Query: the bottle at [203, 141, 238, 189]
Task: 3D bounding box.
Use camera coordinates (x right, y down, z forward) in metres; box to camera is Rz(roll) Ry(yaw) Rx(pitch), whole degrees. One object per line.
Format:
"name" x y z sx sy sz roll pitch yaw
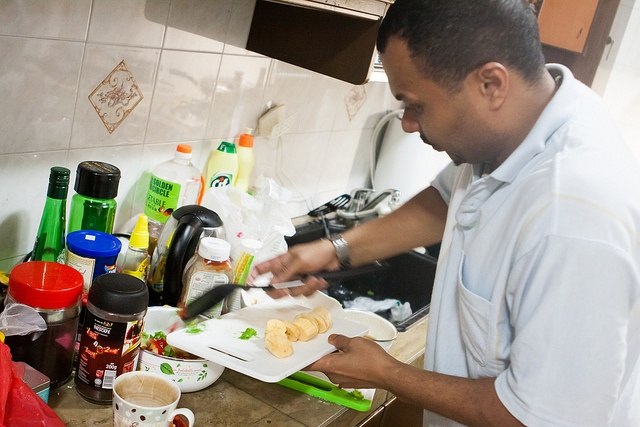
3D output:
"bottle" -0.354 -0.172 1.546 0.122 0.172 0.069 6 12 -15

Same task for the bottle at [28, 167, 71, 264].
"bottle" -0.700 0.012 1.113 0.083 0.281 0.200 1 14 -33

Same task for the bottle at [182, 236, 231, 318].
"bottle" -0.303 0.188 1.177 0.136 0.249 0.109 3 14 -28

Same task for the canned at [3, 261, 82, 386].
"canned" -0.609 0.258 0.934 0.145 0.289 0.113 11 12 10

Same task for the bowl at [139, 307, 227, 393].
"bowl" -0.362 0.348 1.057 0.204 0.074 0.197 29 4 -2
